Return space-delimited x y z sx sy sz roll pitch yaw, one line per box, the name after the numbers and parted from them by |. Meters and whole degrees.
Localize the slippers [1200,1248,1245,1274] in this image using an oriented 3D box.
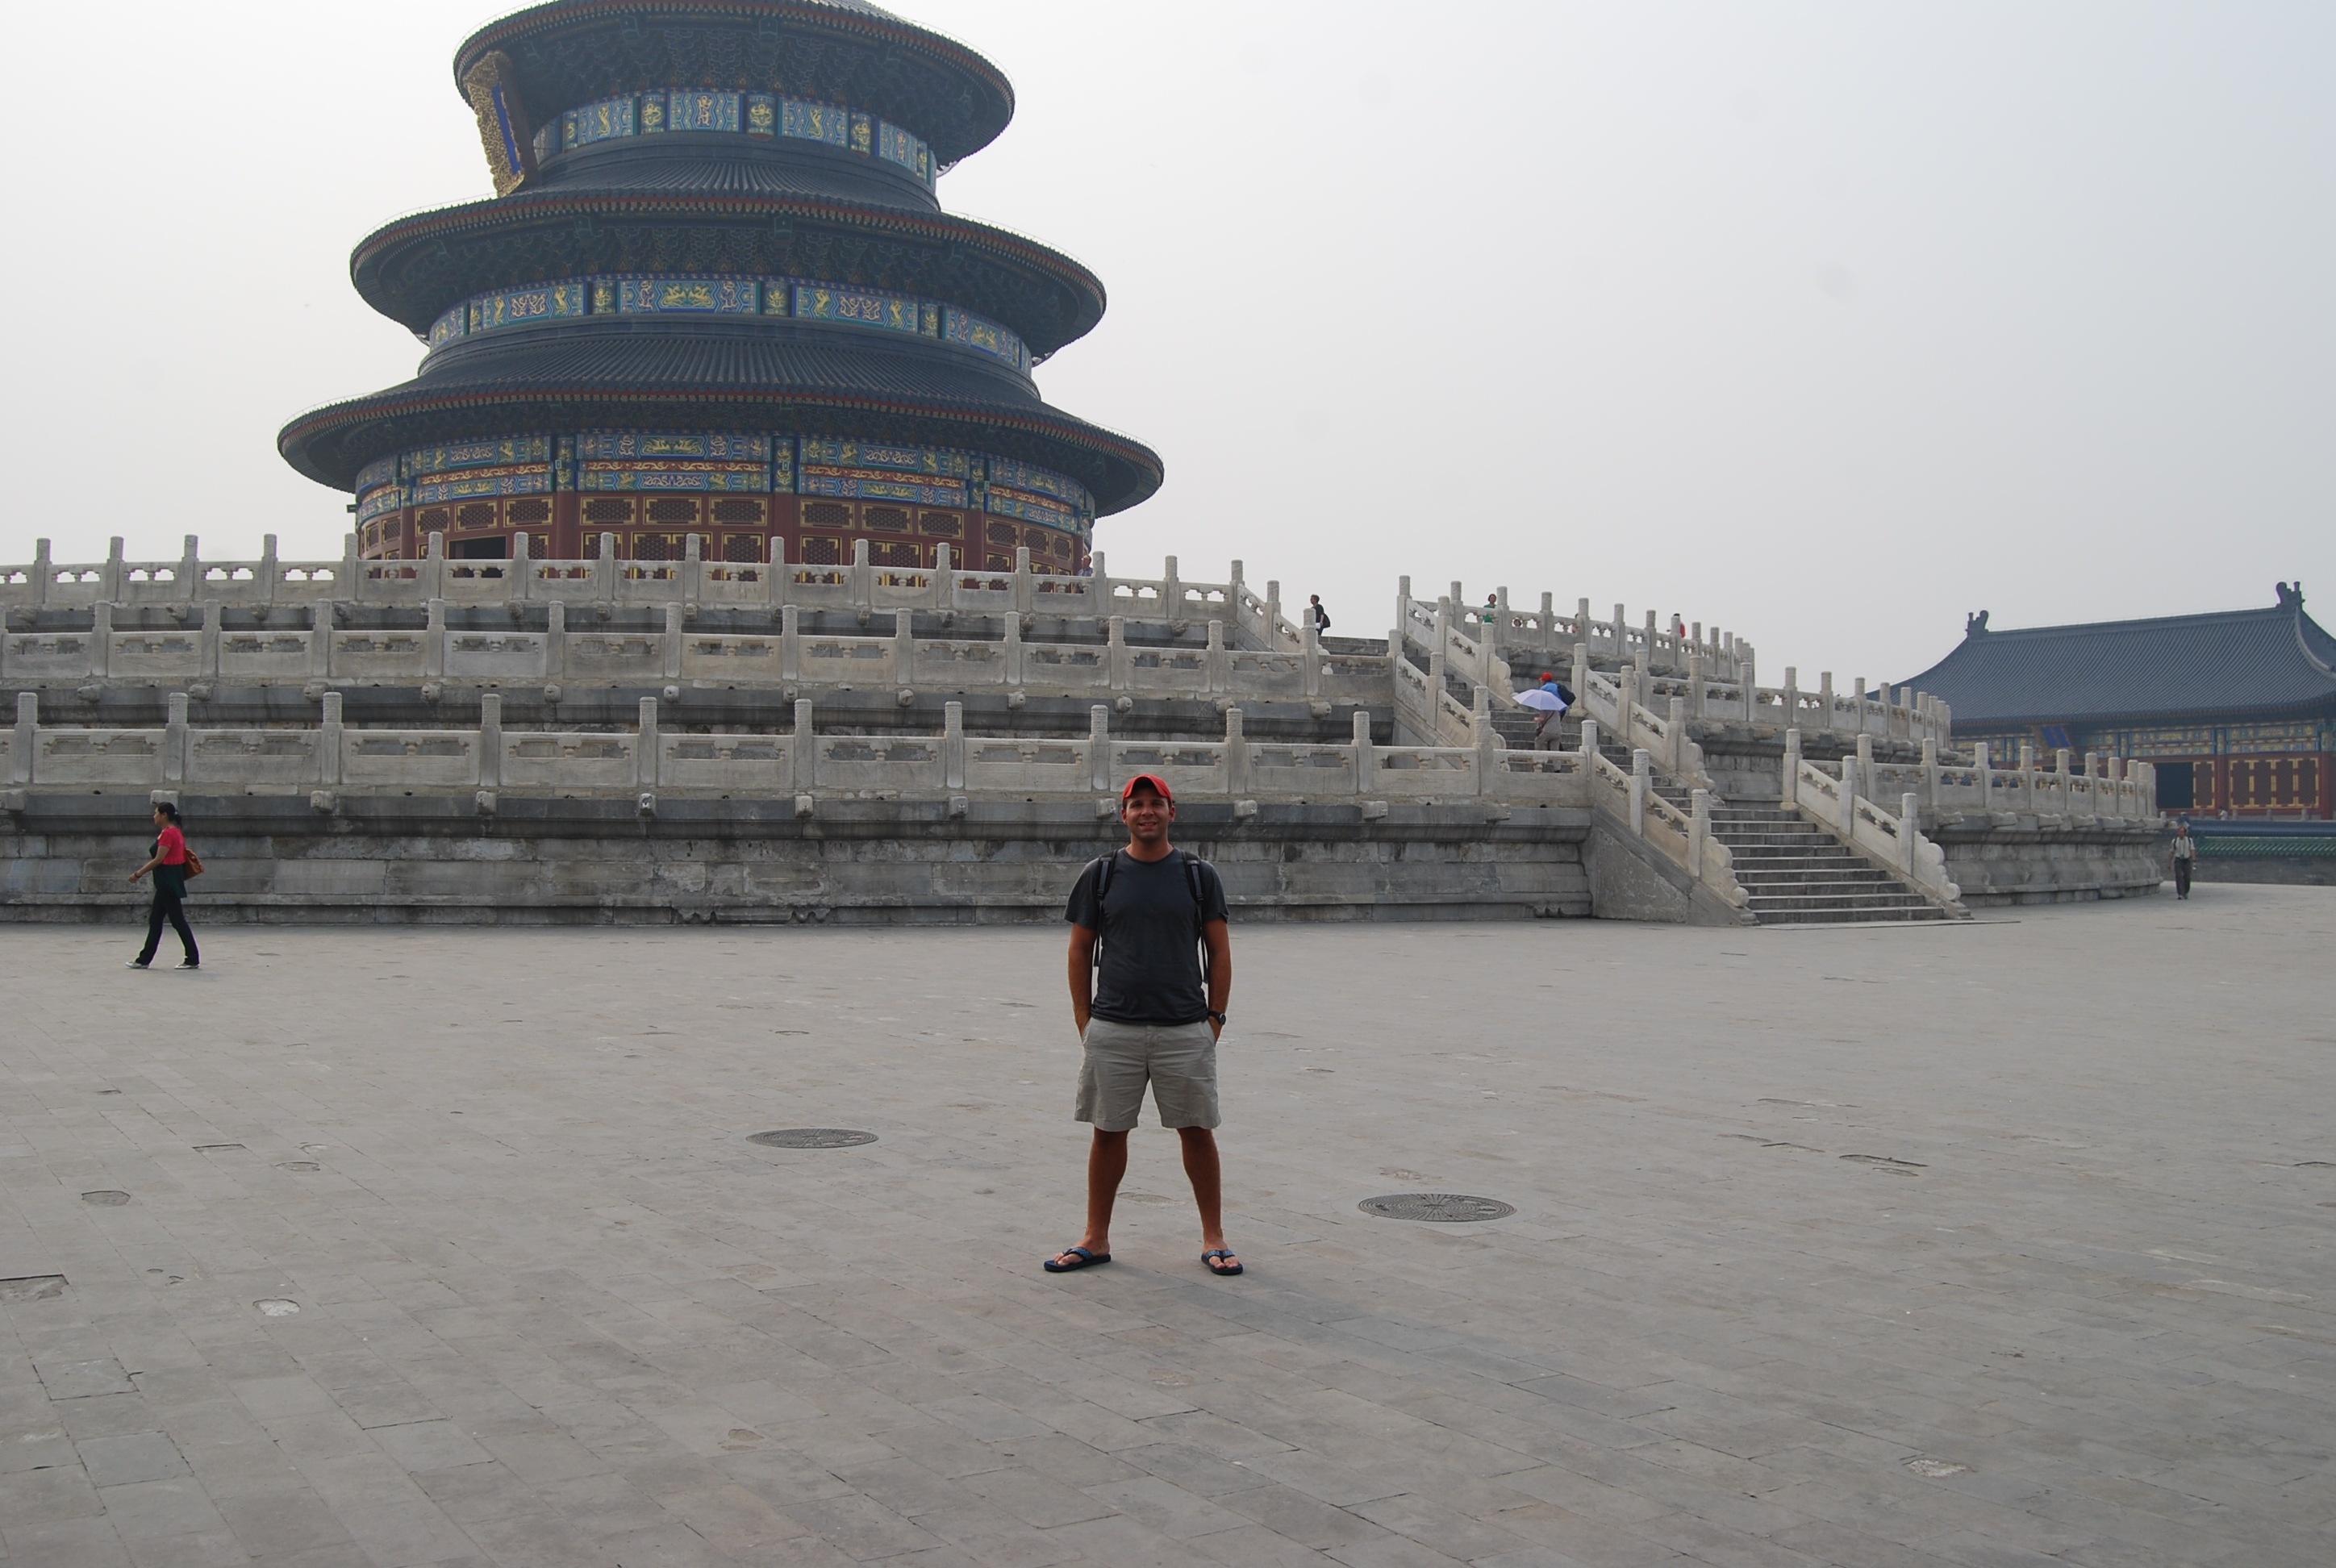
0.290 2.351 10.930 0.188 0.095 0.211 -2 8 -16 | slippers

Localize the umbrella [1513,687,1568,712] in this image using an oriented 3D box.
6.134 -1.337 36.285 0.787 0.474 1.568 2 8 11 | umbrella

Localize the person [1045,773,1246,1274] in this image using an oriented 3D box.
-0.089 1.173 11.187 0.891 2.378 0.940 0 7 -2 | person

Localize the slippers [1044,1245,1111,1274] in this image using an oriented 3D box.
-0.435 2.355 10.974 0.269 0.089 0.121 5 -8 -24 | slippers
